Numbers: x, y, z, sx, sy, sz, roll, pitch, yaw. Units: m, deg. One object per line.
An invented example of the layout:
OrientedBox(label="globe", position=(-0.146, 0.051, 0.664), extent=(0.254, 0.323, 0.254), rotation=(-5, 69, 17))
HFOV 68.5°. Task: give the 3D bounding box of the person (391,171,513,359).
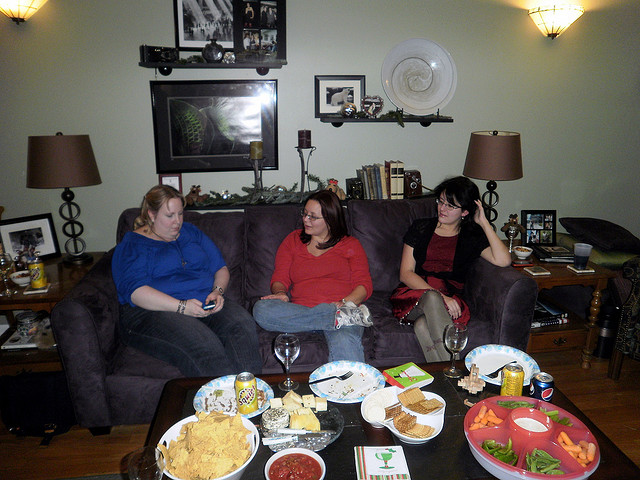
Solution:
OrientedBox(label="person", position=(0.833, 0.255, 2.976), extent=(0.658, 1.222, 0.871), rotation=(7, 16, 6))

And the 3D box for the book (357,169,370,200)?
OrientedBox(label="book", position=(0.342, -0.437, 3.672), extent=(0.067, 0.187, 0.190), rotation=(-6, 28, -6))

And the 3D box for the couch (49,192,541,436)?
OrientedBox(label="couch", position=(-0.144, 0.459, 3.172), extent=(2.822, 1.269, 1.192), rotation=(-4, 12, -11))

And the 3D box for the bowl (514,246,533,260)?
OrientedBox(label="bowl", position=(1.455, 0.077, 3.361), extent=(0.093, 0.063, 0.096), rotation=(1, 9, 0))

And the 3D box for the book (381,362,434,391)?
OrientedBox(label="book", position=(0.417, 0.643, 2.222), extent=(0.114, 0.031, 0.125), rotation=(-5, 16, -14))

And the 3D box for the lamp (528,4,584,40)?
OrientedBox(label="lamp", position=(1.861, -1.771, 3.797), extent=(0.272, 0.174, 0.287), rotation=(0, 17, 6))

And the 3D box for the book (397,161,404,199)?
OrientedBox(label="book", position=(0.618, -0.464, 3.601), extent=(0.045, 0.210, 0.194), rotation=(0, 5, 16))

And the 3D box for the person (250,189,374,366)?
OrientedBox(label="person", position=(-0.004, 0.277, 2.855), extent=(0.714, 1.127, 0.946), rotation=(-6, 15, -13))

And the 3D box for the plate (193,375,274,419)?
OrientedBox(label="plate", position=(-0.393, 0.707, 2.141), extent=(0.361, 0.093, 0.212), rotation=(1, 15, 11))

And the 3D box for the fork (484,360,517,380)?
OrientedBox(label="fork", position=(0.844, 0.606, 2.193), extent=(0.190, 0.024, 0.032), rotation=(-21, 37, -33))

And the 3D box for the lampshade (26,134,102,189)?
OrientedBox(label="lampshade", position=(-1.715, -0.531, 3.210), extent=(0.364, 0.286, 0.386), rotation=(2, 11, 8))

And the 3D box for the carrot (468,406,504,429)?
OrientedBox(label="carrot", position=(0.670, 0.726, 1.918), extent=(0.071, 0.027, 0.095), rotation=(-11, 23, 18))

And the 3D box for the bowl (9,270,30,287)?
OrientedBox(label="bowl", position=(-1.886, 0.230, 2.972), extent=(0.114, 0.052, 0.118), rotation=(5, 12, -1))

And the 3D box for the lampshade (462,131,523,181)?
OrientedBox(label="lampshade", position=(1.260, -0.607, 3.431), extent=(0.354, 0.285, 0.375), rotation=(4, 14, 16))

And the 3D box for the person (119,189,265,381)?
OrientedBox(label="person", position=(-0.743, 0.213, 2.786), extent=(0.856, 1.019, 0.573), rotation=(4, 15, 22))

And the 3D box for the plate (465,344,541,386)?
OrientedBox(label="plate", position=(0.885, 0.603, 2.299), extent=(0.335, 0.110, 0.188), rotation=(3, 15, 15))

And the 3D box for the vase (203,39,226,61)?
OrientedBox(label="vase", position=(-0.751, -1.384, 3.406), extent=(0.137, 0.141, 0.146), rotation=(7, 23, 7))

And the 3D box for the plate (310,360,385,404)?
OrientedBox(label="plate", position=(0.123, 0.673, 2.237), extent=(0.188, 0.024, 0.200), rotation=(4, 25, 11))

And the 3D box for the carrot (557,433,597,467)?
OrientedBox(label="carrot", position=(0.985, 0.802, 1.795), extent=(0.086, 0.025, 0.090), rotation=(10, 26, 30))

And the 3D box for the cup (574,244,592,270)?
OrientedBox(label="cup", position=(1.791, 0.103, 3.213), extent=(0.100, 0.178, 0.094), rotation=(-1, 14, 0))
